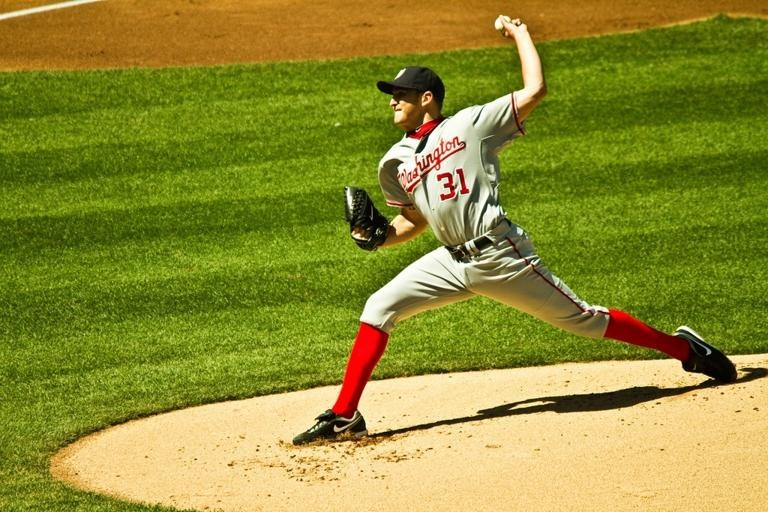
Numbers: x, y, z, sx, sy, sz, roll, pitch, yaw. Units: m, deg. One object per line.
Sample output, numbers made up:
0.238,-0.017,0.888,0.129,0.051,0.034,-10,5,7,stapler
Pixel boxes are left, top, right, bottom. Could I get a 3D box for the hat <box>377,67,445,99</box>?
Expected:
0.327,-1.871,13.734,0.581,0.239,0.356,8,-1,-9,hat
